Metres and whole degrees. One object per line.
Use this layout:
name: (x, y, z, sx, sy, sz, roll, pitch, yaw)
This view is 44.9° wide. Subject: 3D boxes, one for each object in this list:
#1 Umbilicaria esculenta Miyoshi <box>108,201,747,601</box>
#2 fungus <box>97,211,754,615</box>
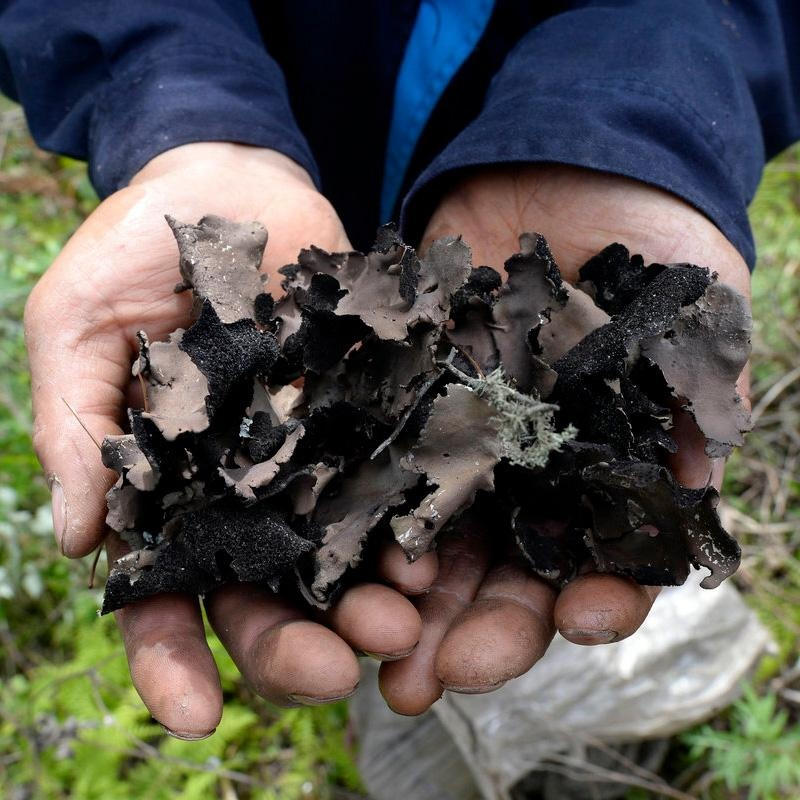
Umbilicaria esculenta Miyoshi: (0.055, 0.020, 2.126, 1.364, 0.525, 0.843, 0, 52, -4)
fungus: (0.063, 0.043, 2.064, 1.547, 0.406, 0.674, 1, 69, 6)
